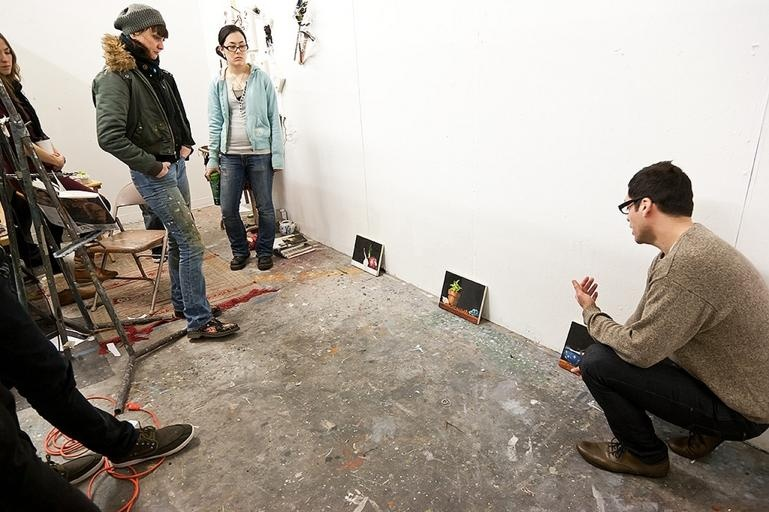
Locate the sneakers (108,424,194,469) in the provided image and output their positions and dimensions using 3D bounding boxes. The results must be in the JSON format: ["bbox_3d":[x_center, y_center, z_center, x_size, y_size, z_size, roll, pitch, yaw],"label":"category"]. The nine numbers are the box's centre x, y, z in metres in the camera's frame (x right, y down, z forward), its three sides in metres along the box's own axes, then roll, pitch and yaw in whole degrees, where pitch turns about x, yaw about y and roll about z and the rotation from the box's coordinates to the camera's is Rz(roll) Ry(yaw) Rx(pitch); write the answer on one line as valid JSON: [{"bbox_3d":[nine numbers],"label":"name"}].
[{"bbox_3d":[-1.258,1.051,2.402,0.471,0.184,0.171,-11,44,-27],"label":"sneakers"}]

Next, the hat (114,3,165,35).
[{"bbox_3d":[-1.611,-1.554,2.831,0.278,0.187,0.209,-11,29,-23],"label":"hat"}]

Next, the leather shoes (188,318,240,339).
[{"bbox_3d":[-1.332,0.565,3.303,0.352,0.154,0.158,-6,24,-8],"label":"leather shoes"}]
